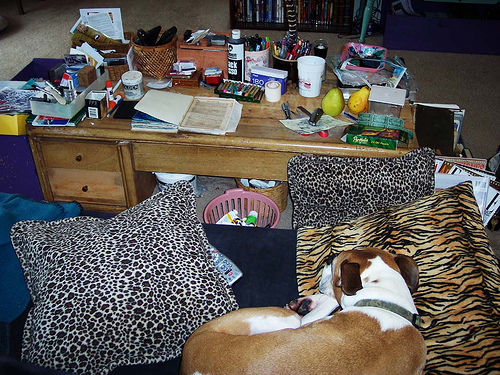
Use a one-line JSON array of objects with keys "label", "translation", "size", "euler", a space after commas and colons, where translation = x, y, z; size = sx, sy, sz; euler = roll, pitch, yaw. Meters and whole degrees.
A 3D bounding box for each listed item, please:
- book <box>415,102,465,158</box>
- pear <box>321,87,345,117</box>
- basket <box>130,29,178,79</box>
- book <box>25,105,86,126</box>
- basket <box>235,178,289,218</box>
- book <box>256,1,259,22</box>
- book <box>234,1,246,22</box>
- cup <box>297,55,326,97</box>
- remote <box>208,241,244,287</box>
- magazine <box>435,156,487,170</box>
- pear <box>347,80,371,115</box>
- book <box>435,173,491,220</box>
[{"label": "book", "translation": [1.055, -0.359, 2.249], "size": [0.378, 0.386, 0.089], "euler": [3, -11, 6]}, {"label": "pear", "translation": [0.457, -0.479, 2.187], "size": [0.125, 0.171, 0.130], "euler": [-12, 45, -6]}, {"label": "basket", "translation": [-0.577, -0.810, 2.532], "size": [0.273, 0.272, 0.214], "euler": [20, 41, 15]}, {"label": "book", "translation": [-1.024, -0.361, 2.091], "size": [0.303, 0.046, 0.141], "euler": [-8, 36, -15]}, {"label": "basket", "translation": [0.074, 0.060, 2.465], "size": [0.327, 0.221, 0.327], "euler": [2, 31, 2]}, {"label": "book", "translation": [0.092, -2.180, 4.928], "size": [0.039, 0.235, 0.014], "euler": [-2, 34, -6]}, {"label": "book", "translation": [-0.127, -2.189, 4.938], "size": [0.134, 0.231, 0.032], "euler": [-5, 34, -11]}, {"label": "cup", "translation": [0.366, -0.656, 2.329], "size": [0.198, 0.199, 0.176], "euler": [-3, 34, -8]}, {"label": "remote", "translation": [-0.104, 0.311, 1.622], "size": [0.105, 0.040, 0.191], "euler": [-32, 59, -28]}, {"label": "magazine", "translation": [1.127, -0.136, 2.076], "size": [0.131, 0.038, 0.145], "euler": [11, 15, 13]}, {"label": "pear", "translation": [0.618, -0.487, 2.211], "size": [0.071, 0.151, 0.091], "euler": [31, -7, -37]}, {"label": "book", "translation": [1.066, 0.049, 1.948], "size": [0.233, 0.228, 0.062], "euler": [10, 1, 3]}]
